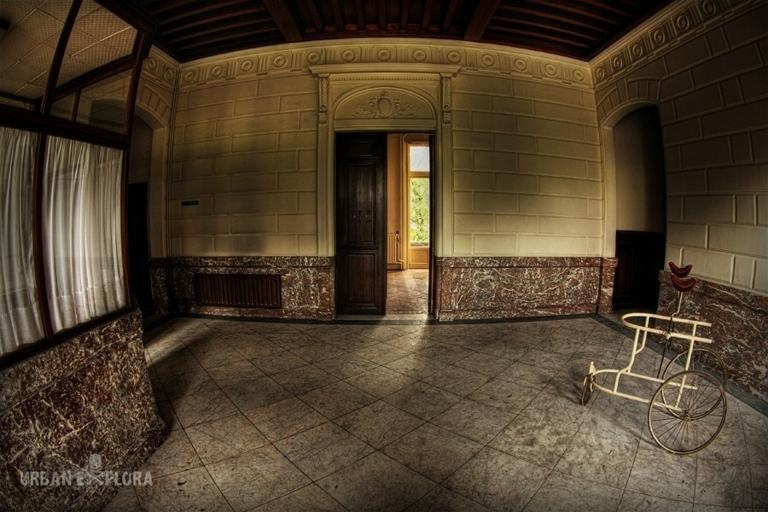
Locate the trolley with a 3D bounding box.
[{"bbox_3d":[3.004,1.107,4.517,1.497,1.791,1.098,4,2,20],"label":"trolley"}]
